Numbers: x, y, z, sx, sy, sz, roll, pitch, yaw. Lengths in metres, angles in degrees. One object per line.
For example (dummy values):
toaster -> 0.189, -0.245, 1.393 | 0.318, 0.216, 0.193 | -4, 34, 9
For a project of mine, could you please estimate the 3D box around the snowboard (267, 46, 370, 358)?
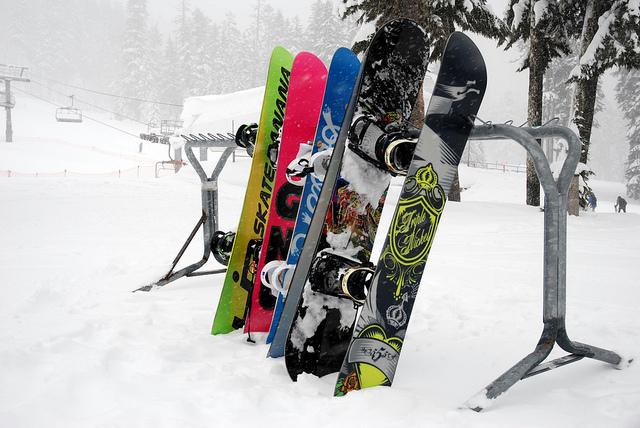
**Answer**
snowboard -> -0.006, -0.058, 7.268 | 0.223, 4.257, 0.489 | 11, -5, 30

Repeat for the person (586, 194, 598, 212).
person -> 8.950, -0.347, 18.220 | 0.218, 0.135, 0.946 | 5, -37, 12
